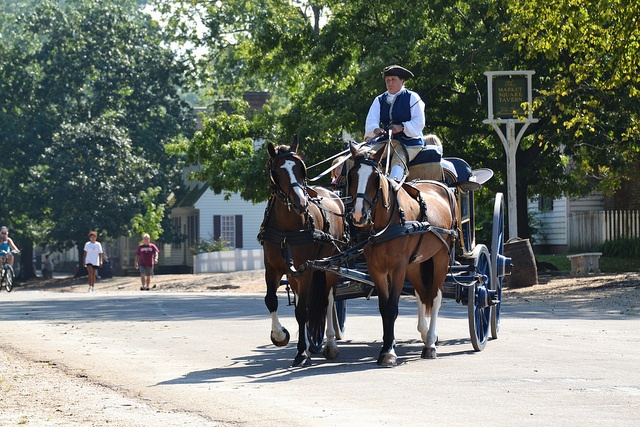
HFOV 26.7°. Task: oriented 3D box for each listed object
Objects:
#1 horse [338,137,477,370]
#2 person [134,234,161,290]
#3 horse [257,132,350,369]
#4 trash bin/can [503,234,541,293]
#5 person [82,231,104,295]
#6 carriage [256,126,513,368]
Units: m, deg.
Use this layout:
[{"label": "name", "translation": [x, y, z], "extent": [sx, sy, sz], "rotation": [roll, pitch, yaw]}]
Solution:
[{"label": "horse", "translation": [2.431, 1.057, 40.050], "extent": [1.643, 5.453, 6.164], "rotation": [0, -1, 16]}, {"label": "person", "translation": [-7.829, 2.078, 60.035], "extent": [0.784, 2.284, 1.240], "rotation": [0, -1, -18]}, {"label": "horse", "translation": [-0.569, 1.477, 41.287], "extent": [2.196, 6.144, 8.082], "rotation": [1, -5, 12]}, {"label": "trash bin/can", "translation": [7.679, 1.970, 52.238], "extent": [1.445, 2.164, 1.441], "rotation": [-17, 12, 11]}, {"label": "person", "translation": [-9.979, 2.102, 58.770], "extent": [1.073, 2.740, 1.213], "rotation": [1, -2, -5]}, {"label": "carriage", "translation": [0.720, 0.812, 40.682], "extent": [3.582, 6.452, 11.107], "rotation": [-6, -12, 31]}]
